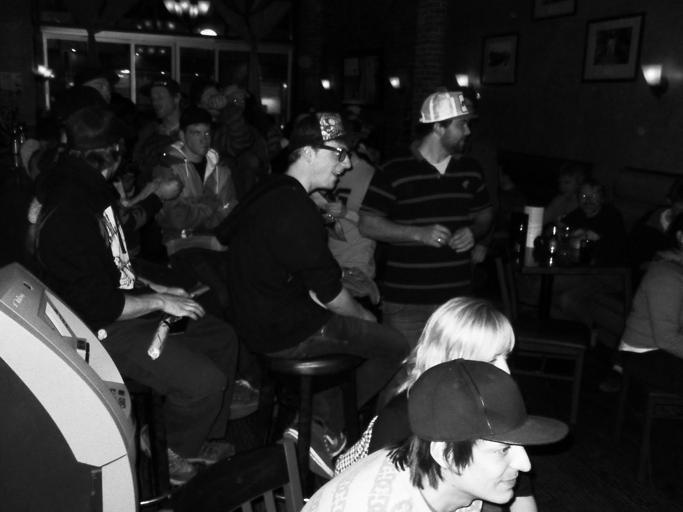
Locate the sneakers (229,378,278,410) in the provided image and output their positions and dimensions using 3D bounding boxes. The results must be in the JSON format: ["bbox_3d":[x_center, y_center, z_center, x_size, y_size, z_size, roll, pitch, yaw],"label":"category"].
[{"bbox_3d":[-0.460,0.757,3.292,0.280,0.225,0.108,4,9,17],"label":"sneakers"}]

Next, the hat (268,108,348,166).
[{"bbox_3d":[-0.099,-0.518,2.660,0.253,0.201,0.215,3,16,0],"label":"hat"}]

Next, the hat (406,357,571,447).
[{"bbox_3d":[0.404,0.384,1.724,0.459,0.197,0.313,2,10,15],"label":"hat"}]

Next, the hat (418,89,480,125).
[{"bbox_3d":[0.588,-0.816,3.339,0.348,0.181,0.255,1,19,24],"label":"hat"}]
